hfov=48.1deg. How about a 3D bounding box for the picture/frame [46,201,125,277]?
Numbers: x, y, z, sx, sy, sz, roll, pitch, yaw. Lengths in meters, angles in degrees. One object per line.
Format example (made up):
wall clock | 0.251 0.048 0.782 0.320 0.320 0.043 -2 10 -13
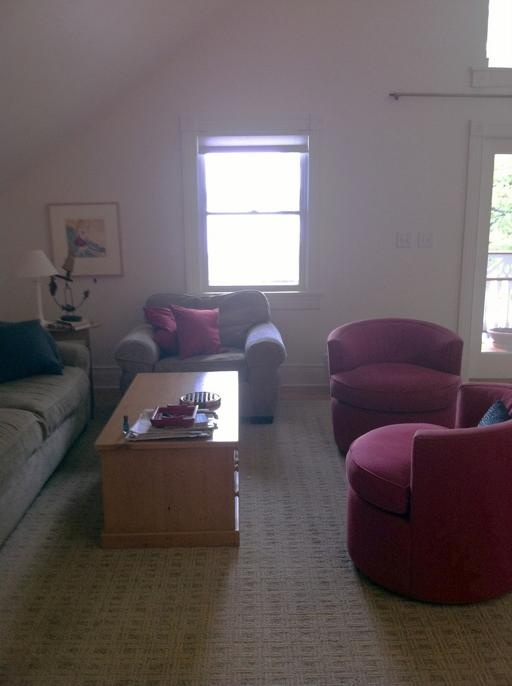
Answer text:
picture/frame | -1.246 -0.776 4.137 0.538 0.597 0.026 -1 7 -3

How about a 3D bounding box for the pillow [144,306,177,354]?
pillow | -0.619 -0.107 3.810 0.085 0.285 0.301 -23 -23 6

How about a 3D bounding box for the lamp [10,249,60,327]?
lamp | -1.514 -0.387 3.984 0.235 0.506 0.581 -4 11 -20

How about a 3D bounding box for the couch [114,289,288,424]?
couch | -0.341 0.066 3.805 0.994 0.751 0.722 -1 10 -3

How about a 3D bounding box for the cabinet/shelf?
cabinet/shelf | -0.328 0.596 2.345 0.492 0.383 0.879 0 14 1
